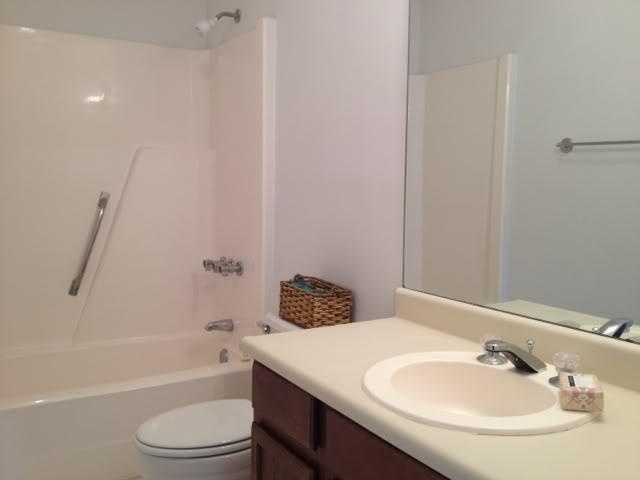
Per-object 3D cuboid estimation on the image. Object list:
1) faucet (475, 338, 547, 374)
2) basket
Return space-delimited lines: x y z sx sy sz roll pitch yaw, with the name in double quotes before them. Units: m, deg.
"faucet" 0.442 0.250 1.120 0.132 0.071 0.113 -3 8 -33
"basket" -0.027 0.281 2.020 0.210 0.211 0.378 -5 10 -29
